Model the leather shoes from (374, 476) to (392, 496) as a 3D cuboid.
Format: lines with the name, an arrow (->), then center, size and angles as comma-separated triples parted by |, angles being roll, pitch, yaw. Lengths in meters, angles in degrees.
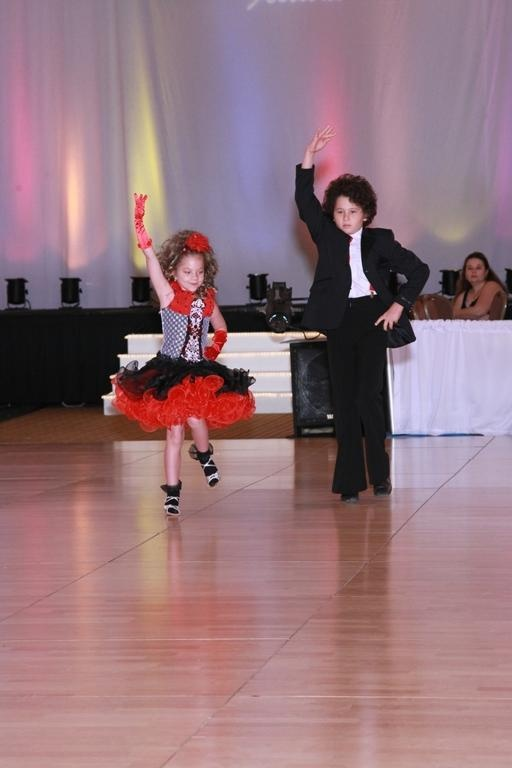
leather shoes -> 0.543, 0.440, 3.234 | 0.071, 0.074, 0.189 | -5, -9, 11

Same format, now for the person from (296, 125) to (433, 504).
person -> 0.442, -0.303, 3.211 | 0.575, 1.594, 0.384 | 1, 7, 2

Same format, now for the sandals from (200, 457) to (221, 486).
sandals -> -0.219, 0.406, 3.429 | 0.059, 0.159, 0.065 | -19, 21, 10

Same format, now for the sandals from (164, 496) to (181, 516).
sandals -> -0.341, 0.491, 2.990 | 0.058, 0.062, 0.169 | -1, -9, -3

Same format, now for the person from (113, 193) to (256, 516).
person -> -0.292, -0.132, 3.090 | 0.589, 1.272, 0.427 | 0, 8, -10
